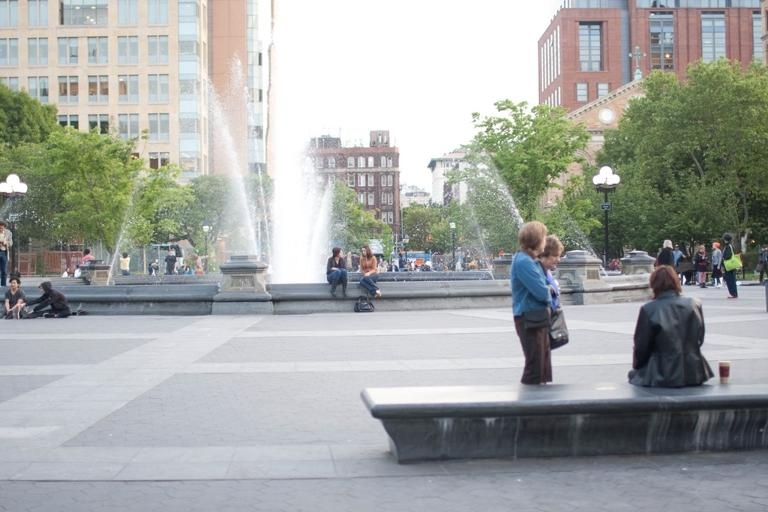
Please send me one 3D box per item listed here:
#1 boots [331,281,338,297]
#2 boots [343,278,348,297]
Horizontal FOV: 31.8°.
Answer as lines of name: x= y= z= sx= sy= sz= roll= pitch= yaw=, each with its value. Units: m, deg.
boots: x=-2.889 y=1.958 z=76.149 sx=0.335 sy=0.782 sz=0.365 roll=-2 pitch=2 yaw=8
boots: x=-2.211 y=1.832 z=76.216 sx=0.305 sy=1.034 sz=0.269 roll=-4 pitch=2 yaw=-30
